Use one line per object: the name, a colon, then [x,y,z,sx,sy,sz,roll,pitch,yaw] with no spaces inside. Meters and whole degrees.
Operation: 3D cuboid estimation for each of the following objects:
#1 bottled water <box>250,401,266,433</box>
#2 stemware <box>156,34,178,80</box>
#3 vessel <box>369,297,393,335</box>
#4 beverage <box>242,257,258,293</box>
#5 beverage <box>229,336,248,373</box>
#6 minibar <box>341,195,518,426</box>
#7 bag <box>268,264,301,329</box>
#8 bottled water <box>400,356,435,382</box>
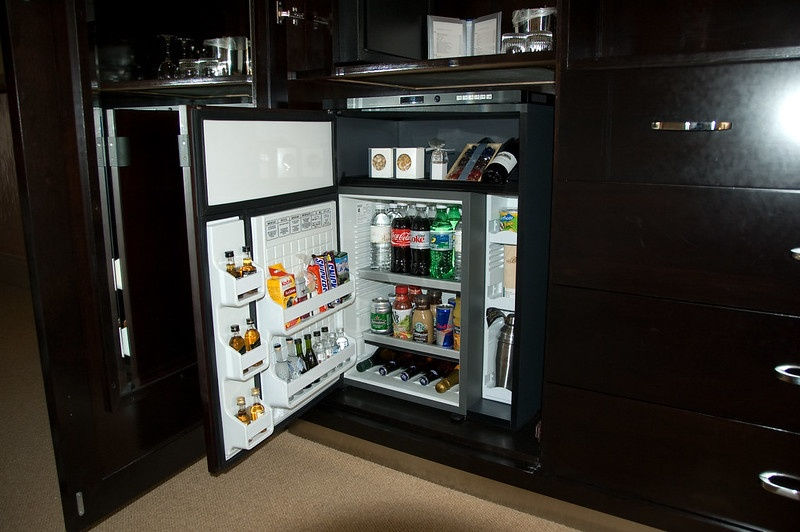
bottled water: [-0.569,0.580,2.194,0.060,0.064,0.058,-5,16,-17]
stemware: [-1.018,-0.911,2.390,0.061,0.193,0.106,1,16,3]
vessel: [-0.097,0.250,2.767,0.163,0.242,0.161,0,7,-1]
beverage: [-0.578,0.027,2.098,0.059,0.150,0.080,-4,16,-15]
beverage: [-0.619,0.317,2.096,0.057,0.093,0.078,-4,16,-16]
minibar: [0.185,0.143,2.640,1.108,1.045,0.368,7,10,41]
bag: [-0.482,0.079,2.228,0.094,0.163,0.117,6,17,21]
bottled water: [0.087,0.523,2.783,0.063,0.069,0.271,15,24,24]
